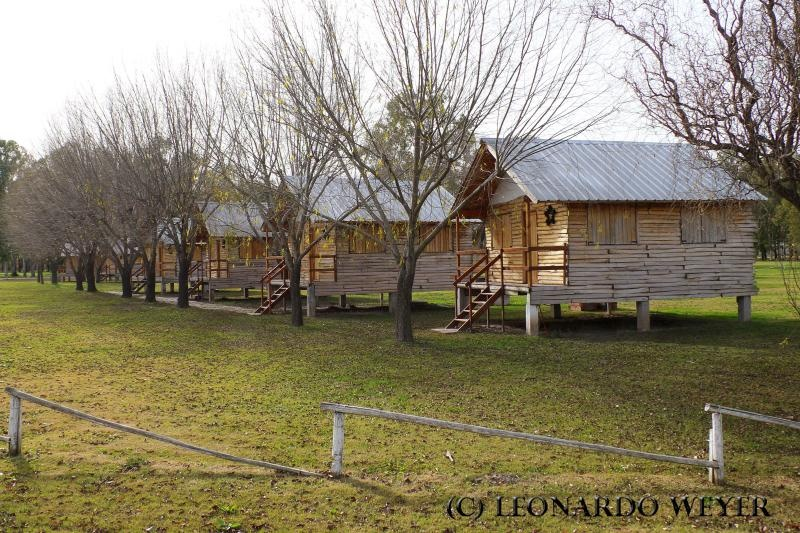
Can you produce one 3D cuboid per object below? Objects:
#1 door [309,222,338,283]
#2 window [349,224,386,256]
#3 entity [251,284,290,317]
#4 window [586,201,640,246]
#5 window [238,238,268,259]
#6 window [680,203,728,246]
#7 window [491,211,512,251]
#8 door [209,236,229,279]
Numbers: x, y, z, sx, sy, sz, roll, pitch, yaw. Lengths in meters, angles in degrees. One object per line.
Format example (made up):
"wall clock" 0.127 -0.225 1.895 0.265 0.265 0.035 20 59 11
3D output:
"door" -3.740 -0.587 31.004 1.516 2.193 1.444 2 1 10
"window" -1.460 -1.185 30.607 1.551 1.066 1.513 -1 1 -26
"entity" -5.830 1.534 31.080 1.548 1.590 2.325 -3 15 -11
"window" 7.308 -1.493 23.667 1.983 1.450 0.140 -2 1 -15
"window" -8.541 -1.085 40.111 0.677 1.228 1.293 -1 -1 44
"window" 10.647 -1.530 24.139 1.524 1.119 0.189 0 1 -25
"window" 4.172 -1.429 27.729 0.174 1.392 1.658 -2 2 -21
"door" -10.451 -0.554 39.426 1.107 2.343 2.426 -4 15 -15
